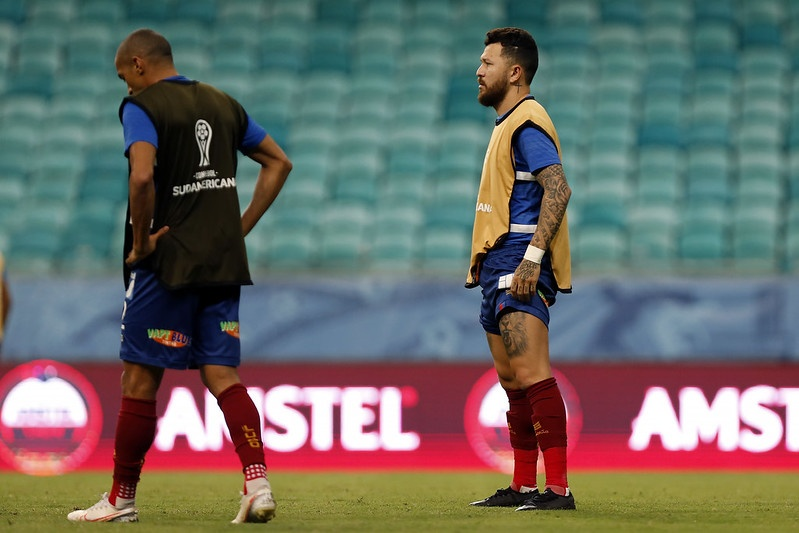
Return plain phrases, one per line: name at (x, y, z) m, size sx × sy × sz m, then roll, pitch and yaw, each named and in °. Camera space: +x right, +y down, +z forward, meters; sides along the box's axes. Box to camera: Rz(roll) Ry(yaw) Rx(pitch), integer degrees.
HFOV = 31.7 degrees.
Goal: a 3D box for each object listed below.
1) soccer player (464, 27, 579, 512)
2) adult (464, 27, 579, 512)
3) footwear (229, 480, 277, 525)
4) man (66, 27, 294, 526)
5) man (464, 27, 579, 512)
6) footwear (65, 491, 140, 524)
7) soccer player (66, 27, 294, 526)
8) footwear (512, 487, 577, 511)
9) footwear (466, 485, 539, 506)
soccer player at (0.967, -0.009, 10.978) m, size 0.942 × 3.768 × 0.606 m, roll 3°, pitch 4°, yaw 44°
adult at (0.967, -0.009, 10.980) m, size 0.671 × 3.768 × 0.919 m, roll -2°, pitch 4°, yaw -35°
footwear at (-1.087, 1.748, 10.443) m, size 0.321 × 0.295 × 0.164 m, roll -1°, pitch 3°, yaw -7°
man at (-1.633, 0.226, 10.643) m, size 1.322 × 3.323 × 0.767 m, roll 0°, pitch 3°, yaw -5°
man at (0.967, -0.009, 10.978) m, size 0.942 × 3.768 × 0.607 m, roll 3°, pitch 4°, yaw 44°
footwear at (-2.254, 1.805, 10.550) m, size 0.574 × 0.193 × 0.207 m, roll 1°, pitch 3°, yaw 17°
soccer player at (-1.635, 0.225, 10.657) m, size 1.310 × 3.323 × 0.769 m, roll 0°, pitch 3°, yaw -3°
footwear at (1.121, 1.780, 10.822) m, size 0.505 × 0.180 × 0.171 m, roll 2°, pitch -11°, yaw -9°
footwear at (0.810, 1.797, 11.023) m, size 0.573 × 0.171 × 0.179 m, roll 1°, pitch -13°, yaw -1°
